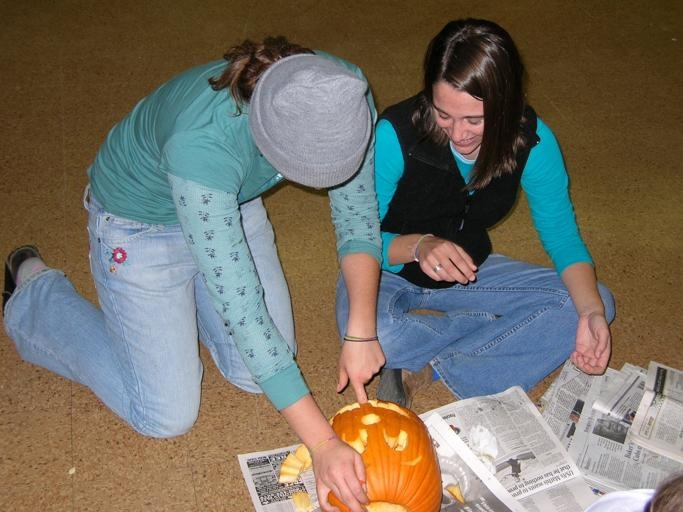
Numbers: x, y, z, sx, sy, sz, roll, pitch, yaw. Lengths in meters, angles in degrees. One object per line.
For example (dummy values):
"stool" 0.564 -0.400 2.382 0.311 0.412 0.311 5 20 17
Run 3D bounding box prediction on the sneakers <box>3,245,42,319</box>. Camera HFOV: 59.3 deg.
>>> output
"sneakers" -1.159 0.065 2.174 0.098 0.311 0.117 7 13 -11

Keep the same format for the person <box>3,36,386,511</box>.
"person" -0.457 0.129 1.832 1.185 1.077 0.722 44 50 9

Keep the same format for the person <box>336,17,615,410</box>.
"person" 0.429 -0.122 1.831 0.840 1.065 0.787 13 42 22

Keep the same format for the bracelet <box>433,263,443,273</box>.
"bracelet" 0.288 0.034 1.774 0.019 0.018 0.025 -31 57 -24

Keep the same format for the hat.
"hat" -0.076 -0.315 1.394 0.241 0.241 0.253 -30 57 -24

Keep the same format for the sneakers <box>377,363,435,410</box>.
"sneakers" 0.201 0.429 2.024 0.196 0.192 0.102 12 66 -12

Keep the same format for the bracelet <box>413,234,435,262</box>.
"bracelet" 0.241 -0.026 1.874 0.020 0.078 0.075 18 64 28
